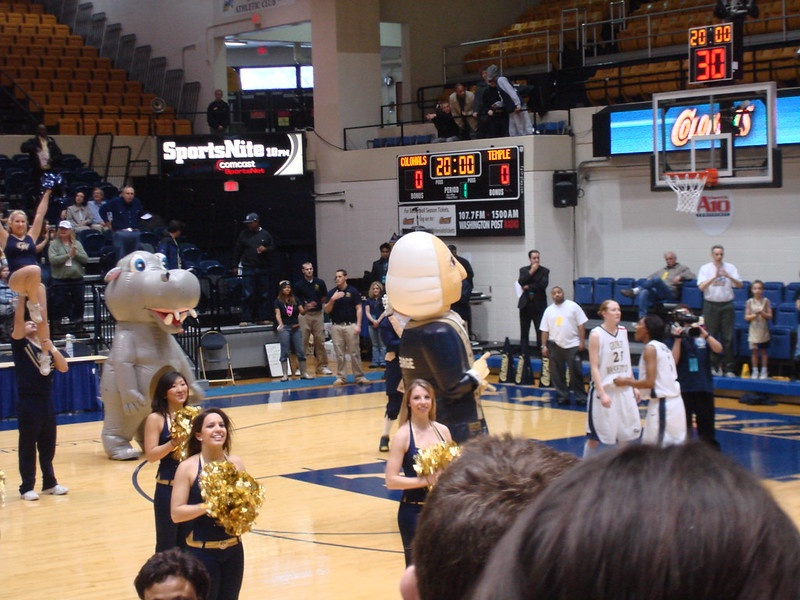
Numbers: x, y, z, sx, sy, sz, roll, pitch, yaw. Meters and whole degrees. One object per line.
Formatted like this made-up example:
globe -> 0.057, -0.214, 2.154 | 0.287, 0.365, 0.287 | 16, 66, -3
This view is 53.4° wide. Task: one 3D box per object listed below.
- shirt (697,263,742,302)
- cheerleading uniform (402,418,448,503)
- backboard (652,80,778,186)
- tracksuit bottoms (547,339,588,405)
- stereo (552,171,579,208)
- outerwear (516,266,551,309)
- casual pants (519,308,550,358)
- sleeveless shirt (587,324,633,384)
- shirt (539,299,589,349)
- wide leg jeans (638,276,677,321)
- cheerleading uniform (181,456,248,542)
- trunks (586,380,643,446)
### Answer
shirt -> 5.706, -0.275, 14.244 | 0.687, 0.673, 0.374 | -1, -15, 8
cheerleading uniform -> 0.171, 1.091, 5.913 | 0.358, 0.473, 0.253 | -2, 24, 11
backboard -> 5.852, -3.033, 14.628 | 2.124, 1.590, 0.225 | 2, 6, 45
tracksuit bottoms -> 2.925, 1.036, 14.077 | 0.482, 0.352, 1.469 | 11, -38, 14
stereo -> 3.846, -2.517, 18.595 | 0.667, 0.827, 0.629 | -2, -4, 22
outerwear -> 2.749, -0.186, 16.481 | 0.585, 1.354, 0.486 | 3, 5, 16
casual pants -> 2.758, 0.534, 16.843 | 0.417, 1.171, 0.271 | -8, 31, 2
sleeveless shirt -> 2.265, 0.603, 8.504 | 0.434, 0.601, 0.486 | -1, 3, 3
shirt -> 2.869, 0.454, 14.052 | 0.861, 0.816, 0.486 | -7, 4, 20
wide leg jeans -> 4.850, -0.023, 14.949 | 0.470, 0.618, 1.066 | 11, 15, 18
cheerleading uniform -> -1.181, 1.250, 5.061 | 0.519, 0.346, 0.472 | 17, 2, -29
trunks -> 2.246, 1.205, 8.321 | 0.558, 0.605, 0.462 | -1, 3, 3
